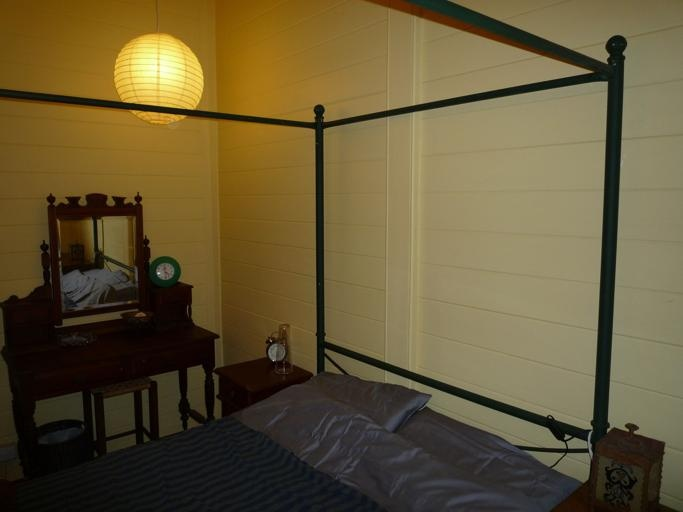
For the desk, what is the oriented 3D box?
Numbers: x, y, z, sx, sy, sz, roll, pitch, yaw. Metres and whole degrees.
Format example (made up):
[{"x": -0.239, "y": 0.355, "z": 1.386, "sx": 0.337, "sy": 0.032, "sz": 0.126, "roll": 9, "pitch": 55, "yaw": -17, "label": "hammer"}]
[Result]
[{"x": -1.544, "y": 0.791, "z": 3.326, "sx": 0.482, "sy": 1.255, "sz": 1.110, "roll": 5, "pitch": 8, "yaw": 43, "label": "desk"}]

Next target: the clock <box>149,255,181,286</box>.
[{"x": -1.312, "y": 0.095, "z": 3.870, "sx": 0.202, "sy": 0.221, "sz": 0.200, "roll": -5, "pitch": 8, "yaw": -40, "label": "clock"}]

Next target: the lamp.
[{"x": -0.945, "y": -0.953, "z": 2.668, "sx": 0.367, "sy": 0.371, "sz": 0.271, "roll": 5, "pitch": 11, "yaw": 14, "label": "lamp"}]

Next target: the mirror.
[{"x": -1.773, "y": -0.011, "z": 3.606, "sx": 0.101, "sy": 1.314, "sz": 0.816, "roll": 4, "pitch": 7, "yaw": 45, "label": "mirror"}]
